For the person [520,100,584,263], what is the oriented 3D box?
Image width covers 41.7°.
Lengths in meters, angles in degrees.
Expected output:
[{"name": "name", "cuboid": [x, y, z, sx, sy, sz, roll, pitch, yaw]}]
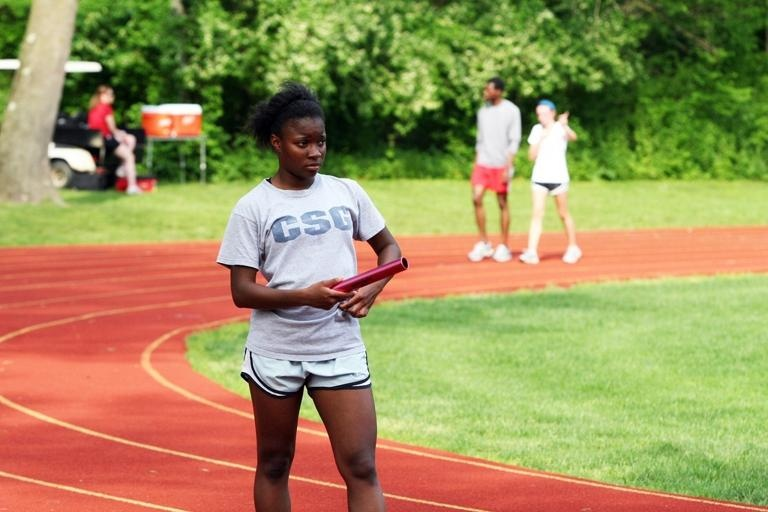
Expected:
[{"name": "person", "cuboid": [1.974, -0.890, 12.056, 0.688, 1.984, 0.816, -1, 5, 9]}]

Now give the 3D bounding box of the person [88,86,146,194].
[{"name": "person", "cuboid": [-4.346, -1.877, 16.330, 0.552, 1.736, 1.038, 0, 5, 20]}]

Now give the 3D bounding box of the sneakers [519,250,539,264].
[{"name": "sneakers", "cuboid": [1.758, 0.002, 12.334, 0.234, 0.124, 0.138, 9, 5, -2]}]

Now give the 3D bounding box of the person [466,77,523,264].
[{"name": "person", "cuboid": [1.355, -1.082, 12.586, 0.641, 2.326, 0.913, -1, 5, 4]}]
